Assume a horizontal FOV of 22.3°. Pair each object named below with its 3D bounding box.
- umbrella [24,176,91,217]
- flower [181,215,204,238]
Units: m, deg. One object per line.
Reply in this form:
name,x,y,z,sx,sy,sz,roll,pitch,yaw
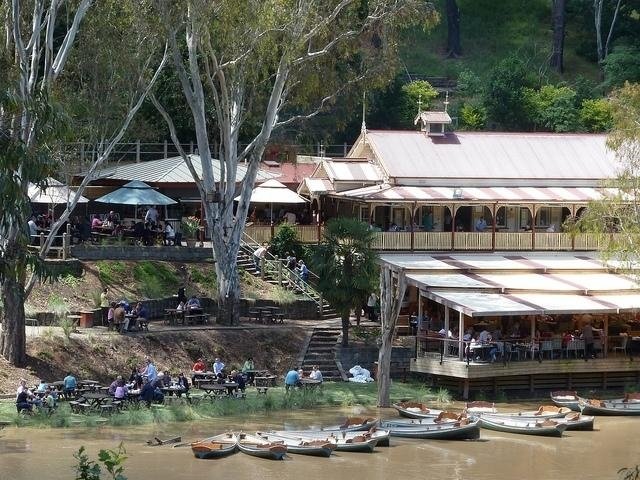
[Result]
umbrella,-14.069,-1.751,85.772,2.475,0.996,2.665,2,4,29
flower,-7.336,-0.813,93.032,1.049,1.306,1.179,1,5,-10
